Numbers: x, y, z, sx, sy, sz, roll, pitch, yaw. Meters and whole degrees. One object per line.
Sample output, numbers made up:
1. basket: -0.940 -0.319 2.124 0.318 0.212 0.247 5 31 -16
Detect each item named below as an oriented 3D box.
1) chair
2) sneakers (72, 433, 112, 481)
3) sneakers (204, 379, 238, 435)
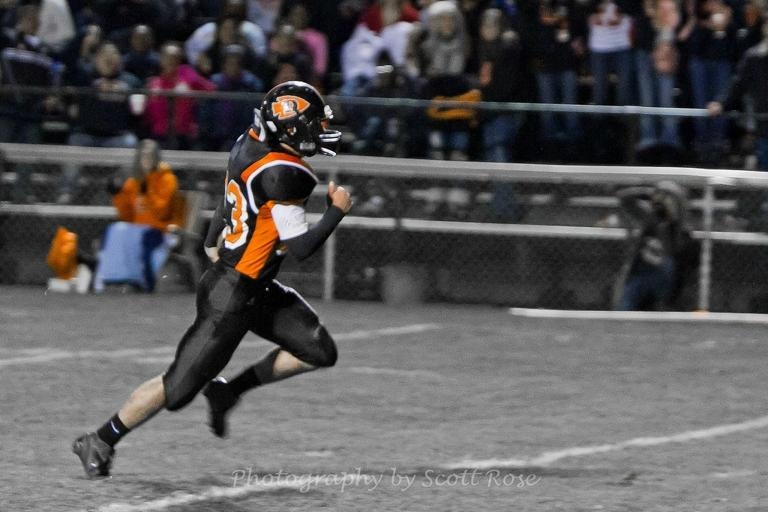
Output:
1. chair: -2.732 -0.187 16.390 0.946 1.002 0.863 2 3 30
2. sneakers: -2.167 1.486 10.846 0.308 0.342 0.138 2 15 -3
3. sneakers: -1.265 1.158 11.189 0.239 0.440 0.181 0 7 -5
